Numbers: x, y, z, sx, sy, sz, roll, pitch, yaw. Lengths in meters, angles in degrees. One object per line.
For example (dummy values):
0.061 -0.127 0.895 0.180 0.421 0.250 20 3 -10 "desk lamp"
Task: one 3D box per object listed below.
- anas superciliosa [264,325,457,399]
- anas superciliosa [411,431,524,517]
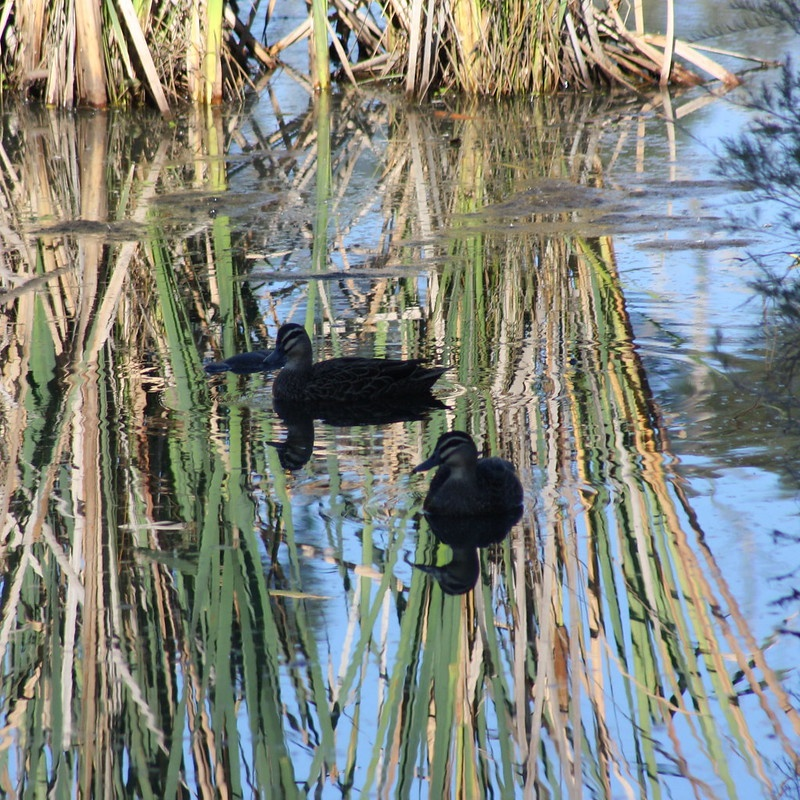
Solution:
-0.293 -0.181 6.862 1.235 0.575 0.438 -1 -1 7 "anas superciliosa"
0.299 0.347 5.146 0.453 0.311 0.305 2 -6 -37 "anas superciliosa"
